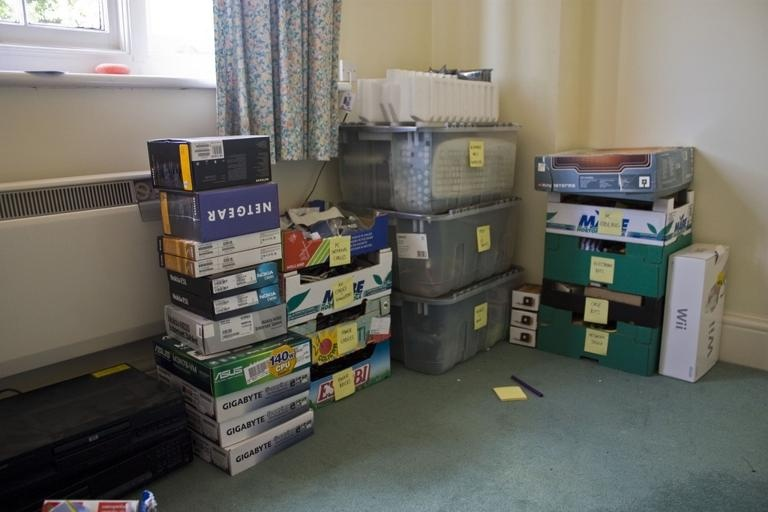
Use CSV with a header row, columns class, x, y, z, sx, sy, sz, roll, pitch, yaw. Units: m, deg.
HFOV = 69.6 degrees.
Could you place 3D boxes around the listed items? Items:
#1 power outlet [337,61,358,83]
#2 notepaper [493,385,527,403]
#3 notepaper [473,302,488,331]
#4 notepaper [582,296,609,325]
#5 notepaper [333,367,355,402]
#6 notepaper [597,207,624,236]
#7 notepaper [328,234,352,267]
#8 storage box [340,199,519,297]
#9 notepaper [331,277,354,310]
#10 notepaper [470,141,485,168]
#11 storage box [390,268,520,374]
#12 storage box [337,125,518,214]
class,x,y,z,sx,sy,sz,roll,pitch,yaw
power outlet,-0.198,-0.982,2.951,0.077,0.131,0.146,9,16,36
notepaper,0.638,0.683,2.791,0.153,0.014,0.119,-3,20,-2
notepaper,0.543,0.328,3.118,0.020,0.124,0.150,13,24,38
notepaper,1.159,0.301,3.022,0.125,0.168,0.069,6,22,22
notepaper,-0.202,0.631,2.758,0.007,0.130,0.128,10,30,36
notepaper,1.200,-0.189,2.921,0.021,0.177,0.155,-15,11,-42
notepaper,-0.213,-0.036,2.682,0.137,0.131,0.012,-19,26,-41
storage box,0.377,-0.049,3.147,0.537,0.355,0.820,5,13,42
notepaper,-0.205,0.171,2.698,0.007,0.138,0.124,15,34,38
notepaper,0.493,-0.544,2.945,0.013,0.129,0.133,12,-3,34
storage box,0.406,0.324,3.225,0.442,0.329,0.702,13,21,40
storage box,0.291,-0.444,3.000,0.524,0.328,0.800,8,13,38
